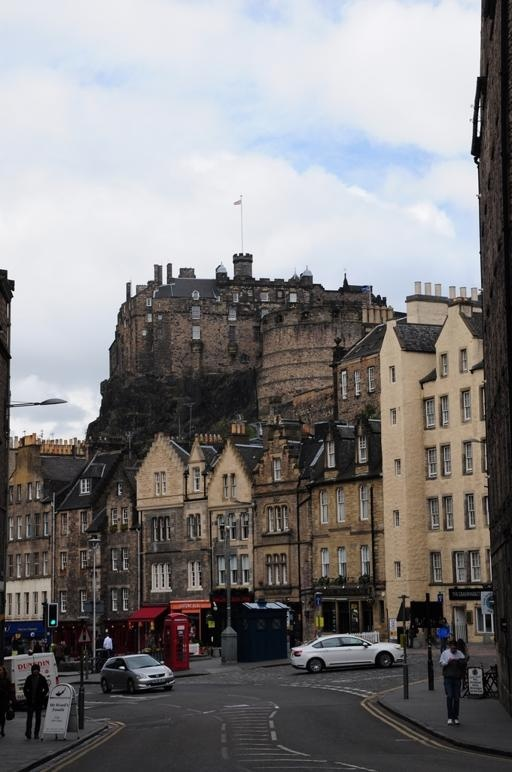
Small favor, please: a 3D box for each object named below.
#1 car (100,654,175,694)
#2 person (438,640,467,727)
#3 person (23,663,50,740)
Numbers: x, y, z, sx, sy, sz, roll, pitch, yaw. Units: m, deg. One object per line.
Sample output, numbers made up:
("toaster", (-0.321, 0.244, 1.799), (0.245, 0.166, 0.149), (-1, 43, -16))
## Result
("car", (-3.858, 9.424, 45.078), (1.203, 1.018, 2.073), (6, -19, -34))
("person", (4.319, 6.504, 30.391), (0.493, 1.704, 2.158), (-3, -8, 7))
("person", (-4.936, 7.089, 31.024), (0.524, 1.596, 1.341), (0, -8, -10))
